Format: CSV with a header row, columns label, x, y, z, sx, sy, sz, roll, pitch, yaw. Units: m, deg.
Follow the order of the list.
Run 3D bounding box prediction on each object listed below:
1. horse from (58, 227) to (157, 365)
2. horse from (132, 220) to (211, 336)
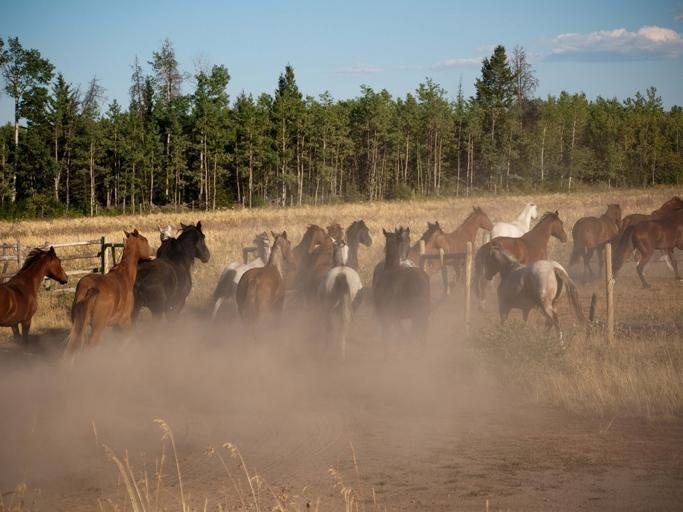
label,x,y,z,sx,sy,sz,roll,pitch,yaw
horse,-7.085,1.110,25.891,0.890,3.622,2.684,1,3,33
horse,-5.822,1.152,28.790,0.969,3.624,4.515,8,15,17
